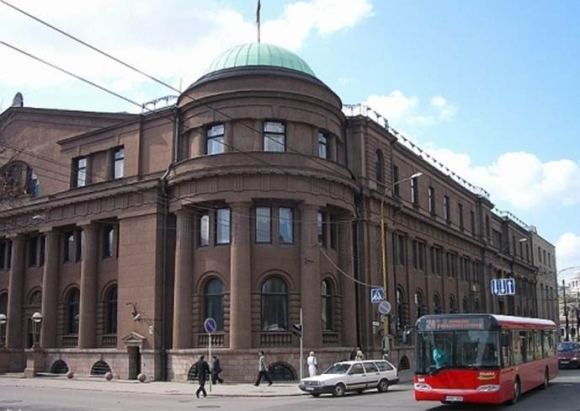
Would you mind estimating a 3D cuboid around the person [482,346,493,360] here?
[{"bbox_3d":[9.341,6.966,31.820,0.507,0.755,0.386,-1,-6,12],"label":"person"}]

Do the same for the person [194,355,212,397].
[{"bbox_3d":[-5.197,9.955,39.493,0.752,2.347,1.063,-1,-2,9],"label":"person"}]

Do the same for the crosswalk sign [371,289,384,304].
[{"bbox_3d":[6.165,6.357,47.452,0.942,1.041,1.001,1,-6,-7],"label":"crosswalk sign"}]

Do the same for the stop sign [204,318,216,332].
[{"bbox_3d":[-4.900,7.346,41.365,0.536,0.999,1.004,-4,-21,4],"label":"stop sign"}]

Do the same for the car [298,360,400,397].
[{"bbox_3d":[3.795,10.294,40.315,6.016,2.120,0.993,8,-22,-26],"label":"car"}]
